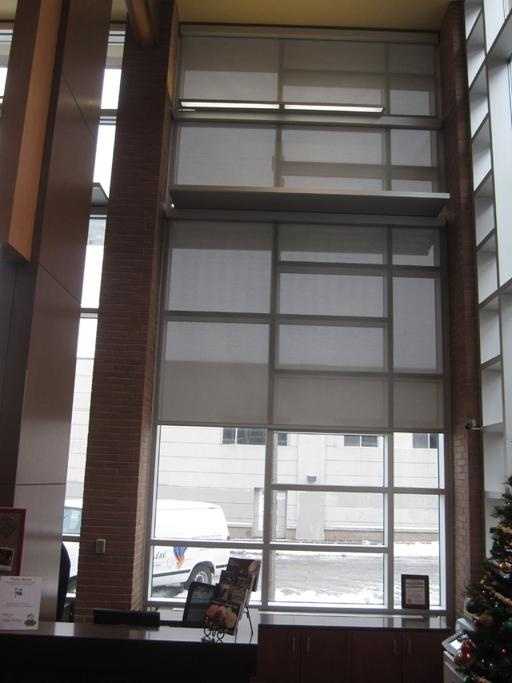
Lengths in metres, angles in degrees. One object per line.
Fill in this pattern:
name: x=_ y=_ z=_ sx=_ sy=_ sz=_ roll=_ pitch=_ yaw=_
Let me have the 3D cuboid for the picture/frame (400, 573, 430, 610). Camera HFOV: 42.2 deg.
picture/frame: x=1.492 y=2.340 z=6.170 sx=0.248 sy=0.371 sz=0.045 roll=1 pitch=-8 yaw=-1
